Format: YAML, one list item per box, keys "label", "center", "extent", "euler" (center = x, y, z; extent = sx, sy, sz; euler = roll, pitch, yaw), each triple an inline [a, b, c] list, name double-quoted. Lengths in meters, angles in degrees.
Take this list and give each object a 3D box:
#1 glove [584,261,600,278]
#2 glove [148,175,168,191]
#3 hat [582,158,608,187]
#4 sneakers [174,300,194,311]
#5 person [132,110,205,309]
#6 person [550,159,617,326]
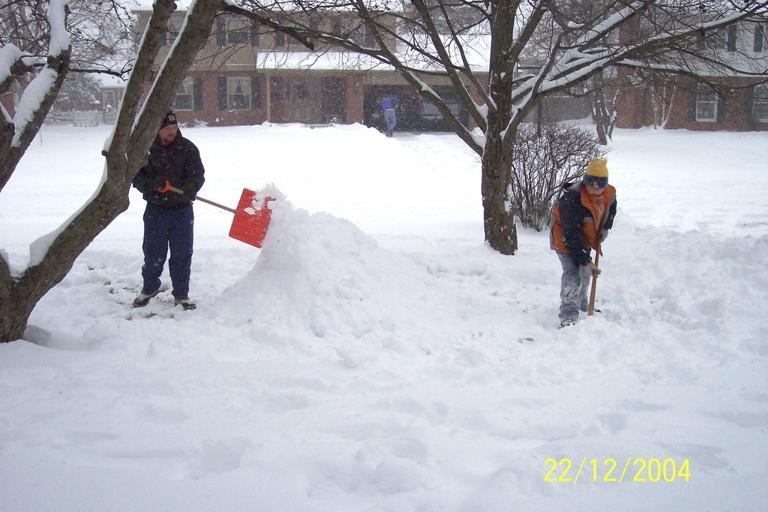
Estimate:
- label: "glove"
  center: [2.463, 0.150, 9.681]
  extent: [0.138, 0.151, 0.237]
  euler: [8, 10, 29]
- label: "glove"
  center: [-2.711, -0.863, 9.873]
  extent: [0.217, 0.175, 0.128]
  euler: [1, 9, -14]
- label: "hat"
  center: [2.467, -0.970, 9.604]
  extent: [0.283, 0.331, 0.406]
  euler: [5, 9, 12]
- label: "sneakers"
  center: [-2.440, 0.587, 10.066]
  extent: [0.218, 0.101, 0.114]
  euler: [7, 19, 25]
- label: "person"
  center: [-2.626, -0.553, 10.017]
  extent: [0.816, 2.384, 0.517]
  euler: [1, 8, -16]
- label: "person"
  center: [2.356, -0.155, 9.744]
  extent: [0.705, 1.994, 0.620]
  euler: [3, 8, 3]
